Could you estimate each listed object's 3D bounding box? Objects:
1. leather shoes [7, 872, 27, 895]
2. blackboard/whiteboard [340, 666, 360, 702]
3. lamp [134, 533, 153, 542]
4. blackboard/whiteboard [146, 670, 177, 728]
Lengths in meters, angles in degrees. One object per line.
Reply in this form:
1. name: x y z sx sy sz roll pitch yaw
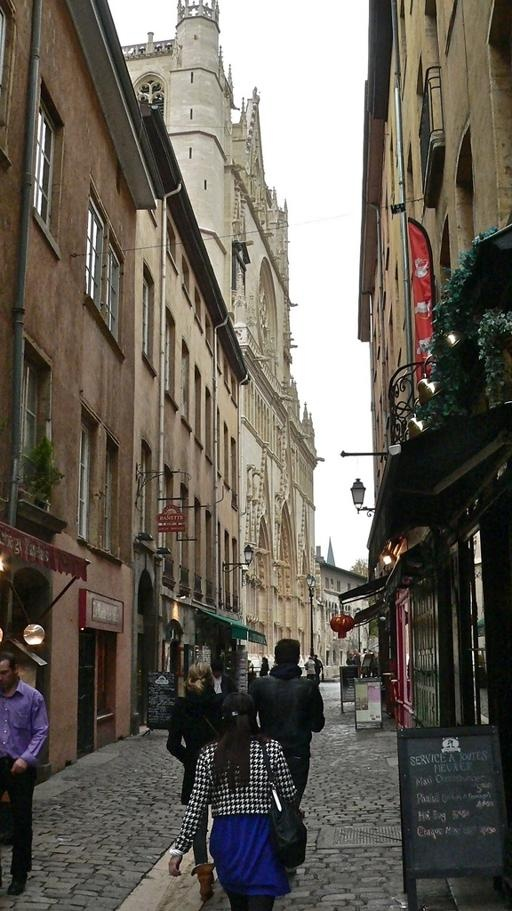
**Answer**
1. leather shoes: -1.500 2.670 4.930 0.044 0.091 0.179 0 -29 6
2. blackboard/whiteboard: 3.323 8.063 27.951 0.564 1.210 0.914 -2 -12 8
3. lamp: -2.718 1.975 18.925 0.306 0.194 0.268 -17 -14 26
4. blackboard/whiteboard: -2.075 5.425 17.419 0.710 0.139 1.618 9 32 -13
